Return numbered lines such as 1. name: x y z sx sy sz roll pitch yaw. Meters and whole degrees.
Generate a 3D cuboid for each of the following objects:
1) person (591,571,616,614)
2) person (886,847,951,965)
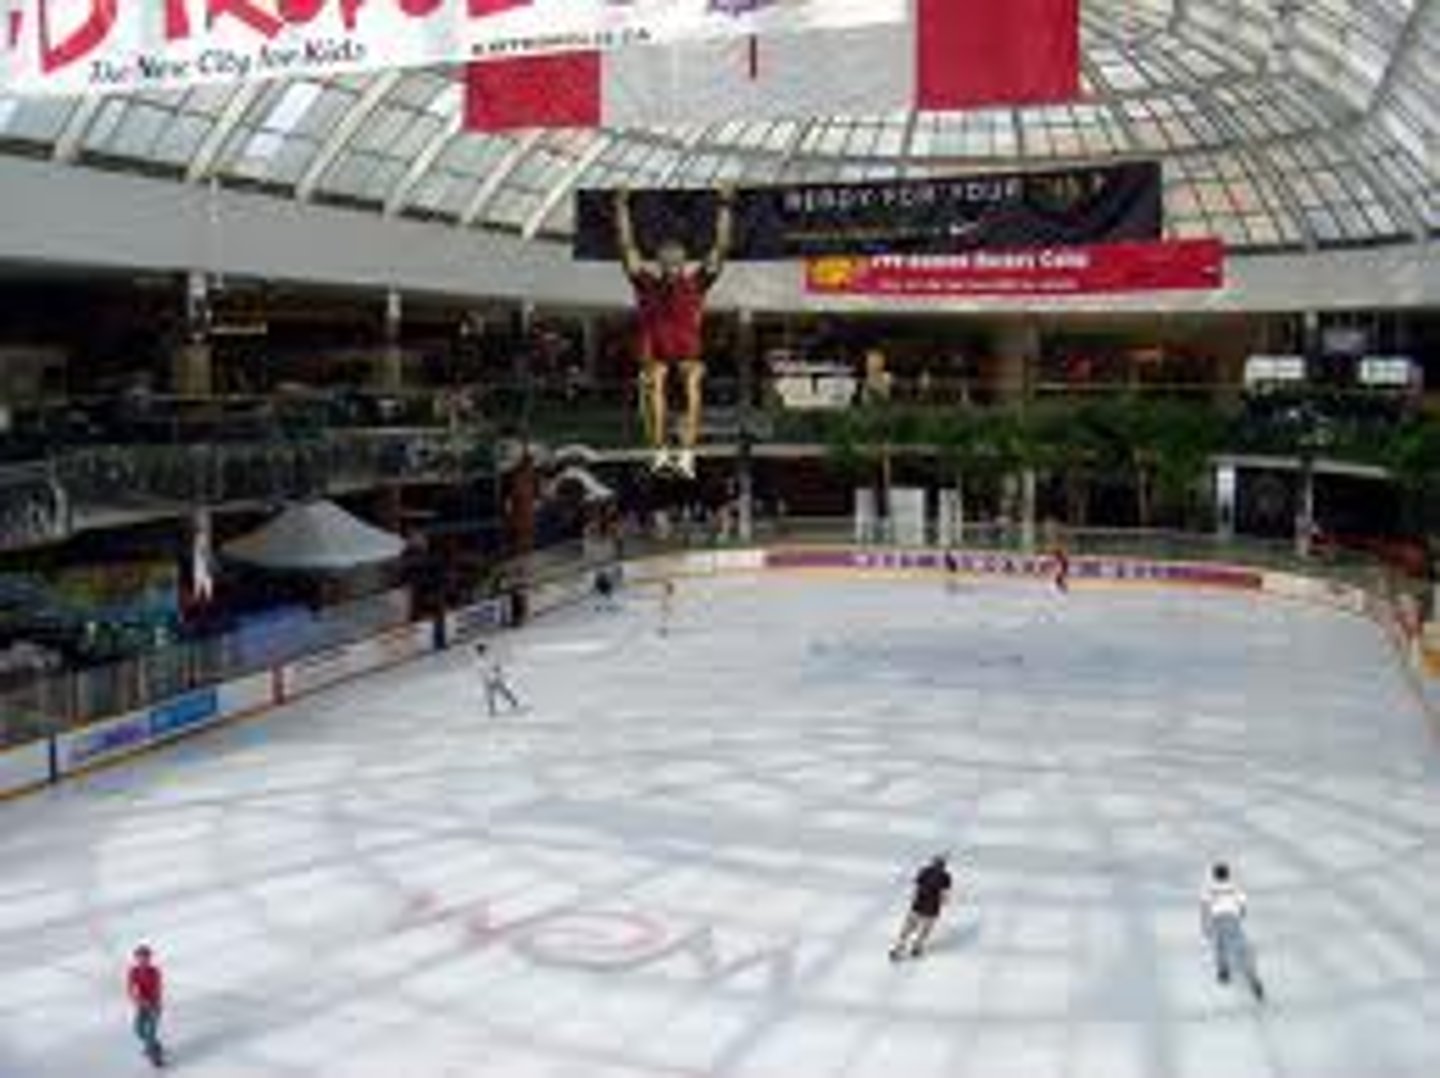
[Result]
1. person: -4.287 1.994 42.009 1.049 2.136 0.713 2 48 -1
2. person: 2.839 5.029 16.444 0.781 1.574 1.343 1 8 12
